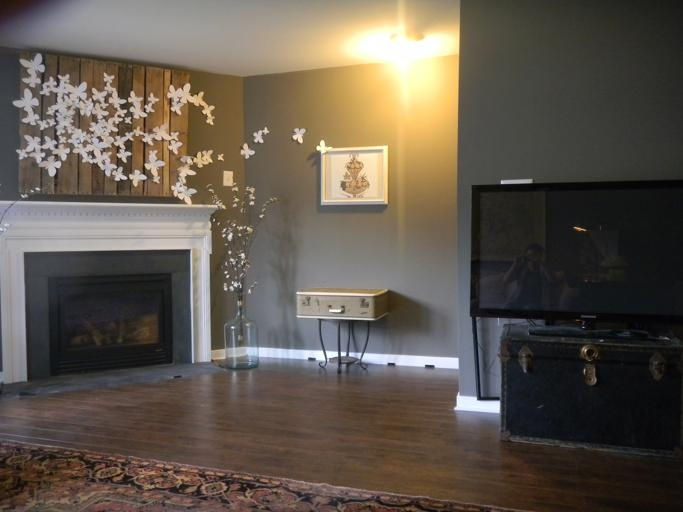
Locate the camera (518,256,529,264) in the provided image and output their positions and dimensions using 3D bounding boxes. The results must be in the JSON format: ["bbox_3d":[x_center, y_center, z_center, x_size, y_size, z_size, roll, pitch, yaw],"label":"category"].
[{"bbox_3d":[1.153,0.029,3.636,0.038,0.052,0.068,6,-8,-40],"label":"camera"}]

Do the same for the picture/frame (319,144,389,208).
[{"bbox_3d":[0.140,-0.736,5.235,0.570,0.484,0.044,0,1,14],"label":"picture/frame"}]

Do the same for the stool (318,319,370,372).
[{"bbox_3d":[0.030,0.798,5.157,0.485,0.433,0.461,0,-2,-2],"label":"stool"}]

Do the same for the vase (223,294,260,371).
[{"bbox_3d":[-0.917,0.675,5.269,0.294,0.666,0.380,0,-2,-11],"label":"vase"}]

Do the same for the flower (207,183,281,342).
[{"bbox_3d":[-0.963,-0.117,5.444,0.605,1.148,0.190,0,-2,-17],"label":"flower"}]
